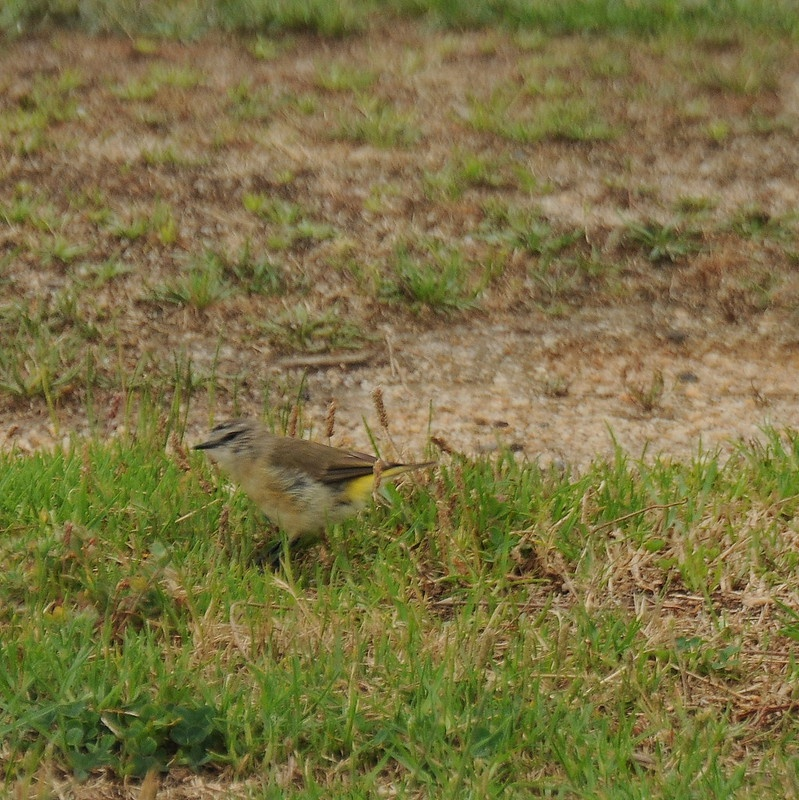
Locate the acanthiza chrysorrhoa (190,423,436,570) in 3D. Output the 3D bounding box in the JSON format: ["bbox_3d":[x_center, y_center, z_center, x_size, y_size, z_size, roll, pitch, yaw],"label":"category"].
[{"bbox_3d":[-0.370,0.358,4.723,1.208,0.698,0.390,0,-2,-1],"label":"acanthiza chrysorrhoa"}]
